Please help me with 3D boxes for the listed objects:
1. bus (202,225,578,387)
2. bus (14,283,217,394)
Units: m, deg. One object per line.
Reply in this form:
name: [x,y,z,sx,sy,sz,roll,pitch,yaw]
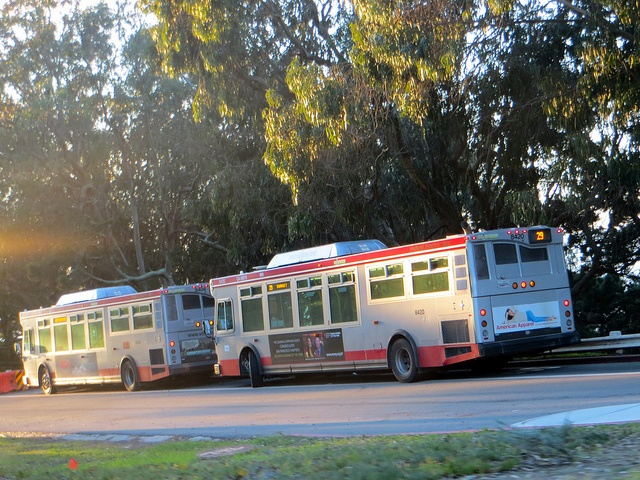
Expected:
bus: [1.292,2.256,16.984,12.708,4.441,2.699,-14,-13,40]
bus: [-9.711,4.606,24.282,7.829,4.454,3.527,-7,-1,15]
